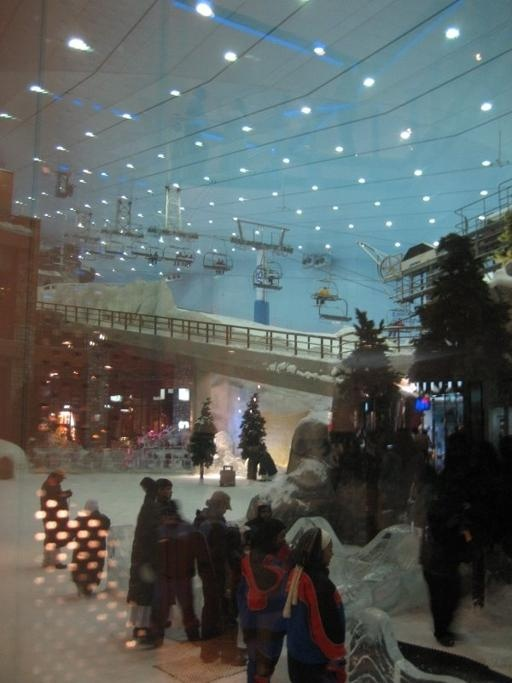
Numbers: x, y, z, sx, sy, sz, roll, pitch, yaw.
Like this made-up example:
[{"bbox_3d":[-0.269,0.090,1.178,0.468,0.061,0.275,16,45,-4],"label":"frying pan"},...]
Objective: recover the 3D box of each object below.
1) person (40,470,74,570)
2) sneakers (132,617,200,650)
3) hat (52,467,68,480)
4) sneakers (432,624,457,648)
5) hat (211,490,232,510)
[{"bbox_3d":[-1.797,1.592,5.592,0.263,0.929,0.398,1,-4,-14],"label":"person"},{"bbox_3d":[-0.703,2.436,5.273,0.737,0.271,0.204,5,-14,-13],"label":"sneakers"},{"bbox_3d":[-1.722,1.161,5.480,0.099,0.112,0.096,11,31,-15],"label":"hat"},{"bbox_3d":[1.535,2.380,5.057,0.162,0.102,0.158,-1,-3,15],"label":"sneakers"},{"bbox_3d":[-0.288,1.322,5.245,0.143,0.088,0.176,28,-5,34],"label":"hat"}]
